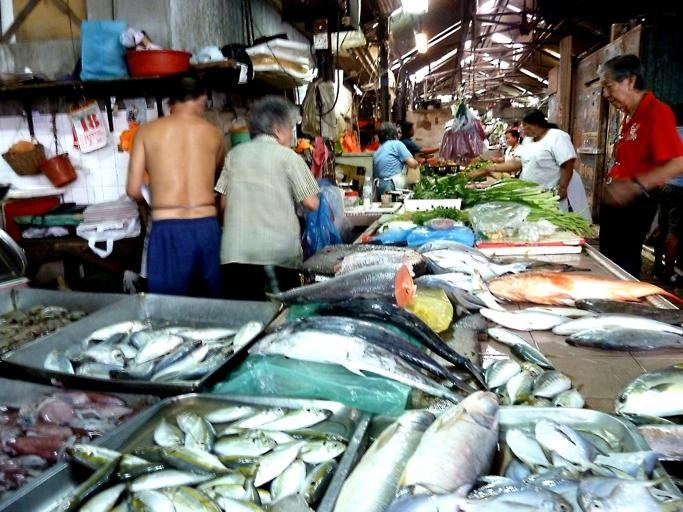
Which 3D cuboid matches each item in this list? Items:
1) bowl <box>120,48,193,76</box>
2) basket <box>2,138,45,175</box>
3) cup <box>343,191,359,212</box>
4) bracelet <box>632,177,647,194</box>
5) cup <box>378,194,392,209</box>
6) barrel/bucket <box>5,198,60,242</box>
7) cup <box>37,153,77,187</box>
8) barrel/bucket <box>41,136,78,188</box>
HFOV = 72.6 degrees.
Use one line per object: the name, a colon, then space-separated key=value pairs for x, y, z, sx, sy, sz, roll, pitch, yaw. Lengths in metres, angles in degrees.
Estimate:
bowl: x=-1.845 y=-1.891 z=4.598 sx=0.672 sy=0.304 sz=0.242 roll=-1 pitch=9 yaw=3
basket: x=-3.622 y=-1.128 z=5.447 sx=0.424 sy=0.327 sz=0.372 roll=-21 pitch=35 yaw=-8
cup: x=0.121 y=-0.637 z=5.542 sx=0.210 sy=0.238 sz=0.219 roll=-1 pitch=10 yaw=0
bracelet: x=2.529 y=-0.600 z=3.972 sx=0.022 sy=0.096 sz=0.100 roll=-39 pitch=13 yaw=1
cup: x=0.509 y=-0.659 z=5.558 sx=0.151 sy=0.178 sz=0.171 roll=-6 pitch=13 yaw=-24
barrel/bucket: x=-3.405 y=-0.406 z=5.152 sx=0.533 sy=0.451 sz=0.375 roll=-8 pitch=11 yaw=-38
cup: x=-3.323 y=-1.046 z=5.520 sx=0.363 sy=0.273 sz=0.357 roll=-30 pitch=21 yaw=13
barrel/bucket: x=-3.286 y=-1.019 z=5.367 sx=0.370 sy=0.282 sz=0.368 roll=-32 pitch=18 yaw=12
